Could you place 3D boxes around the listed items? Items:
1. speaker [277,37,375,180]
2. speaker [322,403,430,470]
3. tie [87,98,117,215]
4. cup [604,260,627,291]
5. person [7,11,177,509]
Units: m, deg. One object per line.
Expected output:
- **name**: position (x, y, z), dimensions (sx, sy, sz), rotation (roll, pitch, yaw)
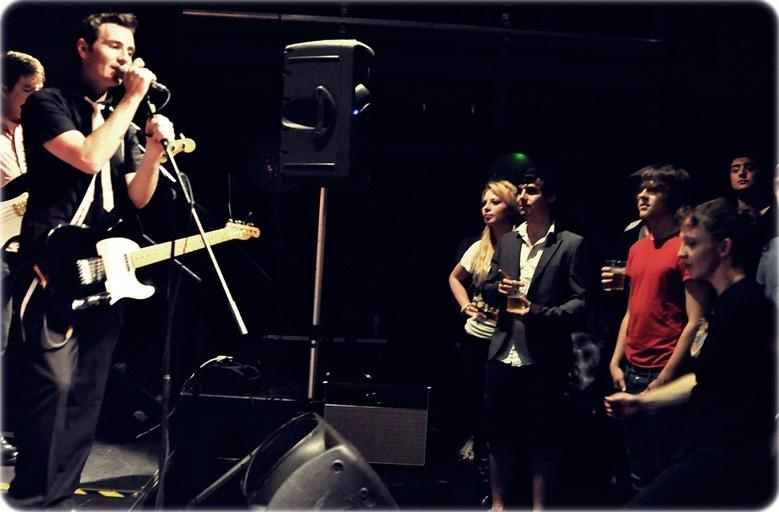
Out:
- **speaker**: position (-0.372, -0.926, 4.688), dimensions (0.836, 1.027, 0.725), rotation (1, 4, -1)
- **speaker**: position (-0.044, 1.106, 4.758), dimensions (0.738, 0.352, 0.437), rotation (2, 8, 3)
- **tie**: position (-1.793, -0.600, 4.422), dimensions (0.101, 0.674, 0.105), rotation (3, 18, -2)
- **cup**: position (1.362, 0.111, 4.371), dimensions (0.172, 0.170, 0.168), rotation (1, -10, 0)
- **person**: position (-1.917, -0.031, 4.318), dimensions (0.720, 2.961, 0.921), rotation (14, 13, 38)
